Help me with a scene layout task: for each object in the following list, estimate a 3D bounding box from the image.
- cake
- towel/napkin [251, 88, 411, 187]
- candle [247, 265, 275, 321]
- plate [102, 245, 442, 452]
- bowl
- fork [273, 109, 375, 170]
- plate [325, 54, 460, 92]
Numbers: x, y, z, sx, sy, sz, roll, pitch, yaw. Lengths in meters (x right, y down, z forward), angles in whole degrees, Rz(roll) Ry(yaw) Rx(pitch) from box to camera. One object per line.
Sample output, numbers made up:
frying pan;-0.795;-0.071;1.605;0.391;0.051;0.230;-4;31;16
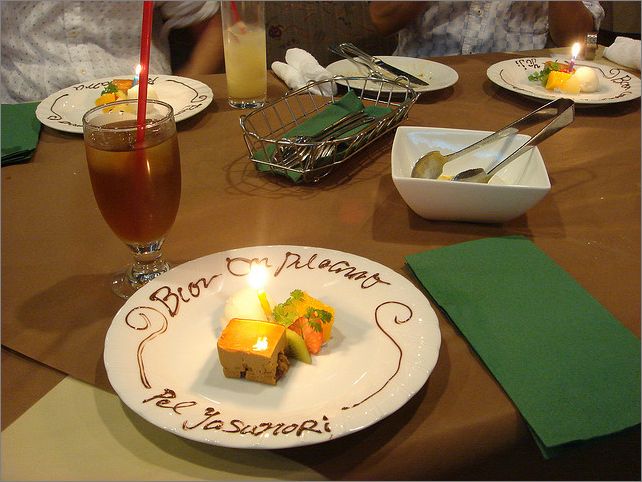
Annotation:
cake;-0.087;0.145;0.689;0.096;0.046;0.083;6;25;14
towel/napkin;0.025;-0.272;1.232;0.275;0.120;0.406;22;39;31
candle;-0.100;0.075;0.781;0.030;0.026;0.096;-12;48;-20
plate;-0.064;0.123;0.720;0.427;0.081;0.342;18;54;7
bowl;0.293;-0.160;0.971;0.254;0.091;0.278;-1;22;0
fork;0.027;-0.232;1.176;0.105;0.032;0.305;16;36;37
plate;0.288;-0.508;1.612;0.263;0.030;0.256;-23;37;-35
